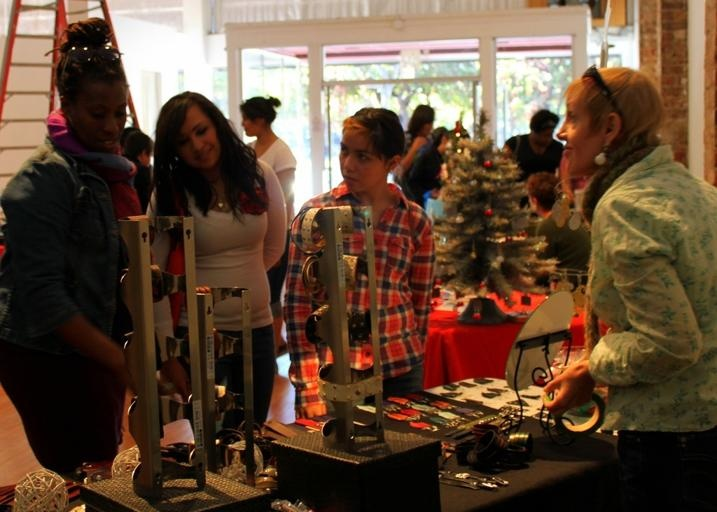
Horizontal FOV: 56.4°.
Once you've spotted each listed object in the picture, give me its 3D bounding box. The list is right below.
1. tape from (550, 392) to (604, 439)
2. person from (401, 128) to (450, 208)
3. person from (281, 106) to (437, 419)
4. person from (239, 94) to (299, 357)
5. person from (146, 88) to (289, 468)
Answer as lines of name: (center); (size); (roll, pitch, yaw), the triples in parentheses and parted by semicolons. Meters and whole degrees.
tape: (0.697, 0.481, 2.035); (0.139, 0.143, 0.033); (17, 2, 26)
person: (0.710, -0.897, 6.761); (0.503, 0.884, 0.521); (6, 16, 16)
person: (0.015, -0.001, 2.625); (0.522, 1.309, 0.500); (-2, 4, -18)
person: (-0.654, -0.117, 5.619); (0.502, 2.399, 0.573); (-8, 16, -35)
person: (-0.522, 0.062, 2.692); (0.531, 1.405, 0.501); (-2, 4, -9)
